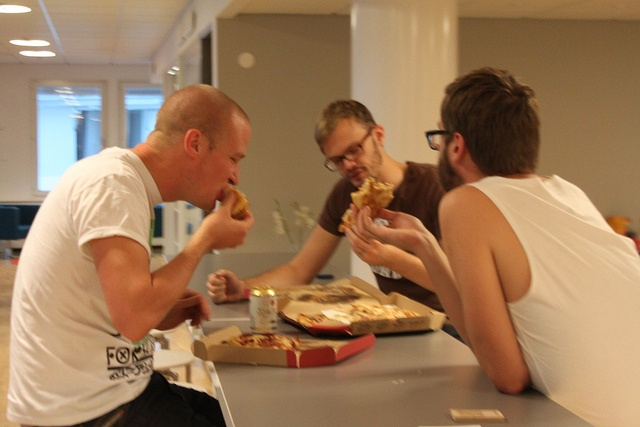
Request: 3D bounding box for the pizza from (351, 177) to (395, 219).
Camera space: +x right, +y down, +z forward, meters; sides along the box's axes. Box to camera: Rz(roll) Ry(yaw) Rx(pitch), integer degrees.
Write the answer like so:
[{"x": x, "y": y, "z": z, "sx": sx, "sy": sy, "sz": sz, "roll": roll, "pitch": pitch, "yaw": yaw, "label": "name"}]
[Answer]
[{"x": 0.226, "y": -0.069, "z": 2.177, "sx": 0.171, "sy": 0.172, "sz": 0.049, "roll": -35, "pitch": 13, "yaw": -17, "label": "pizza"}]
